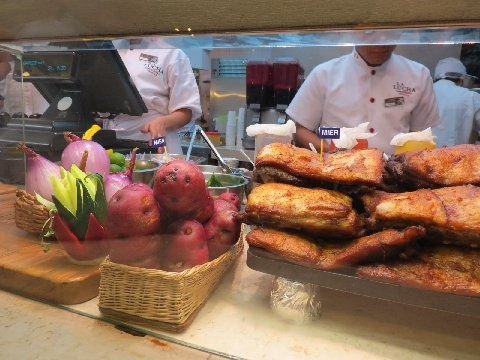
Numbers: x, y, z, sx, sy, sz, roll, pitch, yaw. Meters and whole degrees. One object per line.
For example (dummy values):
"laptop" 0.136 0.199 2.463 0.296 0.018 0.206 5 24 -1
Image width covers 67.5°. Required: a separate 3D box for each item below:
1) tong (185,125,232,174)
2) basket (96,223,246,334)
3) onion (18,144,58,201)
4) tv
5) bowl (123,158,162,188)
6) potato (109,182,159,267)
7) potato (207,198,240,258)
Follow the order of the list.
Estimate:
"tong" -0.148 -0.155 1.805 0.062 0.195 0.339 -36 64 -25
"basket" -0.171 0.229 0.860 0.162 0.063 0.251 5 9 19
"onion" -0.578 -0.023 1.042 0.115 0.158 0.093 -3 16 -12
"tv" -0.623 -0.361 1.335 0.443 0.328 0.295 12 20 26
"bowl" -0.371 -0.034 1.340 0.116 0.075 0.116 11 19 -4
"potato" -0.242 0.110 0.836 0.104 0.184 0.099 -14 21 -41
"potato" -0.032 0.132 0.924 0.077 0.136 0.079 -5 -14 17
